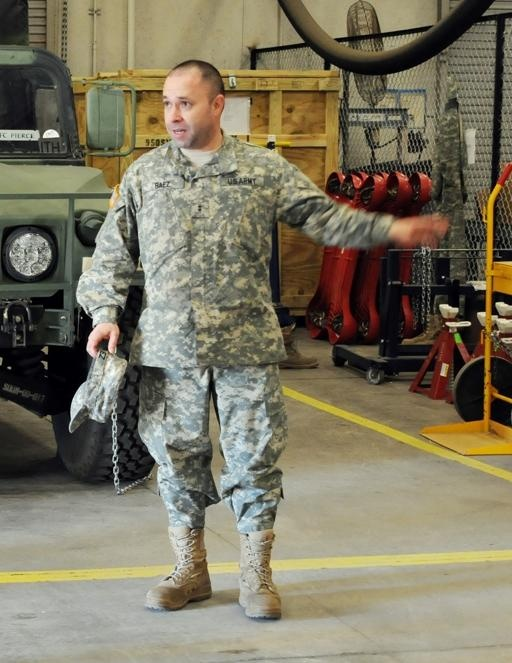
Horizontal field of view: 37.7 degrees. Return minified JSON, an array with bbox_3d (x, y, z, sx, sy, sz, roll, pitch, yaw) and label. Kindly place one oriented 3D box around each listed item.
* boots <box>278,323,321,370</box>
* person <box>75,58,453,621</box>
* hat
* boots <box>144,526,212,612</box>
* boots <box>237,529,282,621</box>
[{"bbox_3d":[0.331,0.137,6.495,0.481,0.367,0.192,5,2,-7],"label":"boots"},{"bbox_3d":[-0.070,0.034,2.084,0.878,1.531,0.262,1,5,3],"label":"person"},{"bbox_3d":[-0.435,0.156,2.063,0.081,0.223,0.180,22,-6,-27],"label":"hat"},{"bbox_3d":[-0.233,0.687,2.171,0.105,0.209,0.256,-5,-7,31],"label":"boots"},{"bbox_3d":[0.013,0.689,2.132,0.111,0.211,0.279,3,-8,-11],"label":"boots"}]
